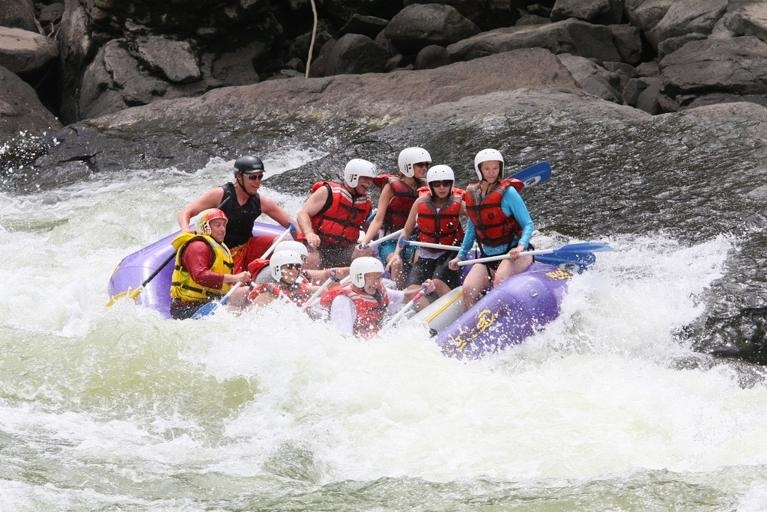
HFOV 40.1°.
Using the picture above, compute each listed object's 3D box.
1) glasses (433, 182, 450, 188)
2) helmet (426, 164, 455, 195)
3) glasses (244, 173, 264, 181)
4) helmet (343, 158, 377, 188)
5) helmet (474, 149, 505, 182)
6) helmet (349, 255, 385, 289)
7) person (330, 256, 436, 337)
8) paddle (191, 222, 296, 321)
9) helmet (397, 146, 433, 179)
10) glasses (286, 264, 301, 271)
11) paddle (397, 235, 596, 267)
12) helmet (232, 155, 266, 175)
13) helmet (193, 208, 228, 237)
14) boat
[{"bbox_3d":[0.705,-0.879,12.788,0.182,0.087,0.038,0,40,-3],"label":"glasses"},{"bbox_3d":[0.708,-0.953,12.881,0.334,0.325,0.389,-2,9,2],"label":"helmet"},{"bbox_3d":[-1.616,-0.995,13.060,0.158,0.043,0.149,15,-22,-27],"label":"glasses"},{"bbox_3d":[-0.316,-1.096,13.614,0.473,0.299,0.315,4,15,19],"label":"helmet"},{"bbox_3d":[1.313,-1.102,12.517,0.403,0.333,0.471,-2,-2,-5],"label":"helmet"},{"bbox_3d":[-0.214,0.161,12.058,0.330,0.326,0.256,-22,45,-29],"label":"helmet"},{"bbox_3d":[-0.159,0.395,12.159,0.636,0.825,1.113,30,45,30],"label":"person"},{"bbox_3d":[-1.701,0.212,12.595,1.743,0.253,0.192,-38,31,-17],"label":"paddle"},{"bbox_3d":[0.356,-1.227,13.468,0.486,0.313,0.325,-1,9,17],"label":"helmet"},{"bbox_3d":[-1.051,0.122,12.428,0.090,0.039,0.104,1,-14,-13],"label":"glasses"},{"bbox_3d":[1.269,-0.057,12.704,3.497,0.435,0.156,0,50,12],"label":"paddle"},{"bbox_3d":[-1.673,-1.151,13.065,0.328,0.120,0.223,0,5,23],"label":"helmet"},{"bbox_3d":[-2.091,-0.425,12.637,0.400,0.243,0.291,4,5,37],"label":"helmet"},{"bbox_3d":[-0.235,0.621,12.520,3.888,0.645,1.983,11,38,15],"label":"boat"}]
